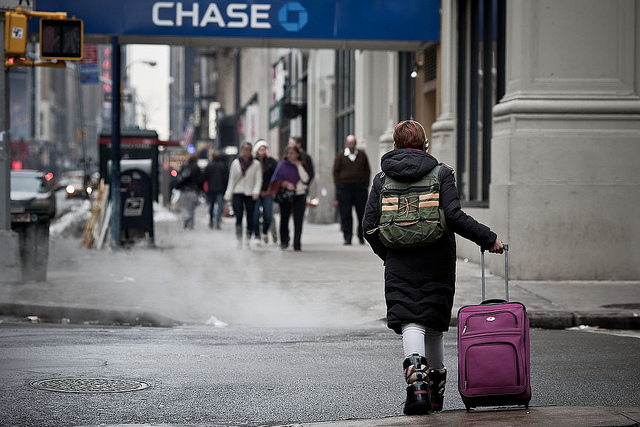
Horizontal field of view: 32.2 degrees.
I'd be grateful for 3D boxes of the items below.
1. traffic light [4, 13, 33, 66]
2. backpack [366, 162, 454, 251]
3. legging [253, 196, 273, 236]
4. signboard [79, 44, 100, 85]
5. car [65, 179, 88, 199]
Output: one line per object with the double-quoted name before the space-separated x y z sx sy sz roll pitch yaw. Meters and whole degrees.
"traffic light" -5.035 -2.867 18.345 0.373 0.863 0.304 0 4 -17
"backpack" 1.034 -0.077 12.116 0.731 0.902 0.237 1 4 8
"legging" -1.301 0.070 25.349 0.433 0.977 1.321 1 4 -4
"signboard" -6.046 -3.895 29.364 0.690 1.194 0.679 1 -5 -20
"car" -15.525 -1.501 70.484 1.557 1.181 0.903 0 -7 -6
